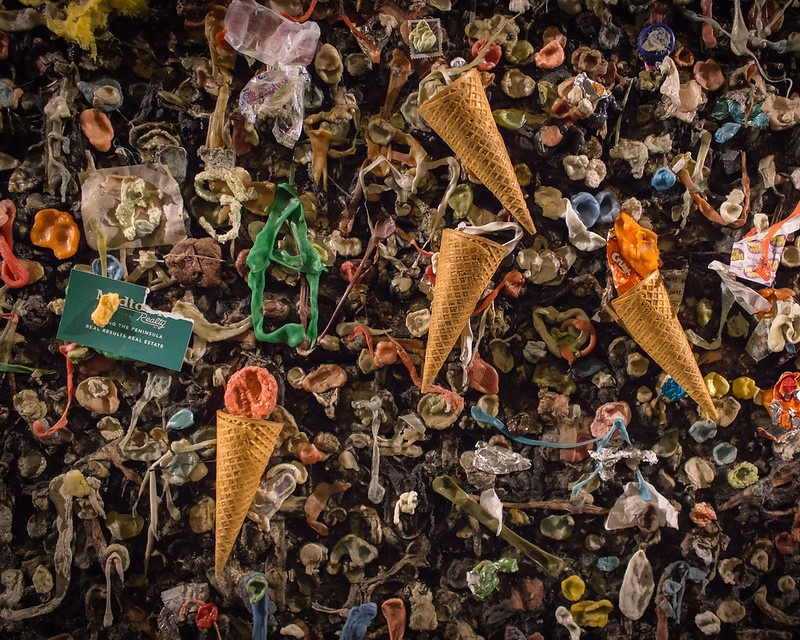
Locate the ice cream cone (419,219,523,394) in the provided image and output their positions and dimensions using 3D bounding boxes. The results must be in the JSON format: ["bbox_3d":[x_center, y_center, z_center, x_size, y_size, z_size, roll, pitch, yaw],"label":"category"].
[{"bbox_3d":[0.101,-0.022,1.972,0.169,0.134,0.381,20,75,2],"label":"ice cream cone"}]
